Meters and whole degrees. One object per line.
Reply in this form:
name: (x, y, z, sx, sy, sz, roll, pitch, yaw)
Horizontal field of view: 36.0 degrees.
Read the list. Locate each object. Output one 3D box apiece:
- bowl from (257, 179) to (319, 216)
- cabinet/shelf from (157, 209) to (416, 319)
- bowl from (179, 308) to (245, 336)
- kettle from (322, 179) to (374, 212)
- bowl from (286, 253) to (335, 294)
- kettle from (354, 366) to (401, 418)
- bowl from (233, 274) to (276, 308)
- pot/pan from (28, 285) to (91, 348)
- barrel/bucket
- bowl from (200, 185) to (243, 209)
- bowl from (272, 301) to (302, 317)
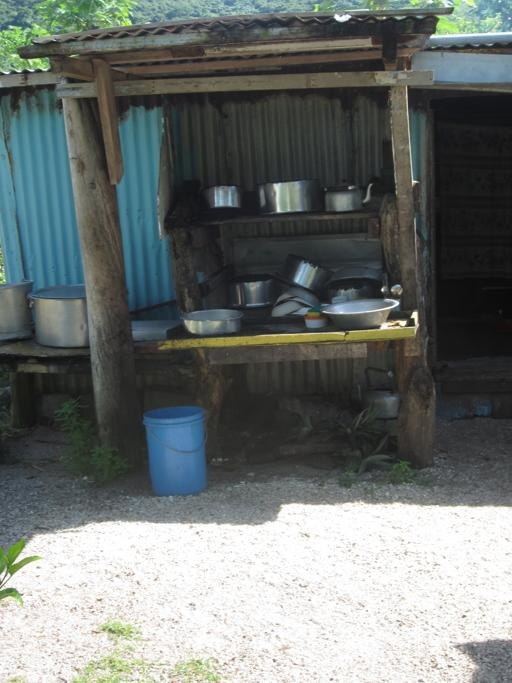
bowl: (0.271, -1.138, 6.245, 0.464, 0.275, 0.421, 5, 13, 12)
cabinet/shelf: (0.329, -0.757, 6.458, 1.860, 0.776, 1.551, 1, 12, 6)
bowl: (-0.317, -0.134, 5.702, 0.425, 0.124, 0.465, 0, 12, 0)
kettle: (0.690, -1.175, 6.336, 0.405, 0.244, 0.358, 3, 13, -5)
bowl: (0.436, -0.527, 6.563, 0.356, 0.199, 0.354, 26, -3, 2)
kettle: (1.066, 0.450, 6.827, 0.456, 0.470, 0.393, -1, 14, -2)
bowl: (-0.019, -0.409, 6.534, 0.338, 0.166, 0.302, -5, 14, -10)
pot/pan: (-1.610, -0.196, 6.423, 0.558, 0.528, 0.537, 3, 16, -16)
barrel/bucket: (-0.562, 0.770, 5.657, 0.557, 0.556, 0.543, 3, 15, -1)
bowl: (-0.260, -1.159, 6.300, 0.275, 0.138, 0.188, -3, 8, -13)
bowl: (0.233, -0.248, 6.028, 0.177, 0.057, 0.161, -16, 4, 1)
